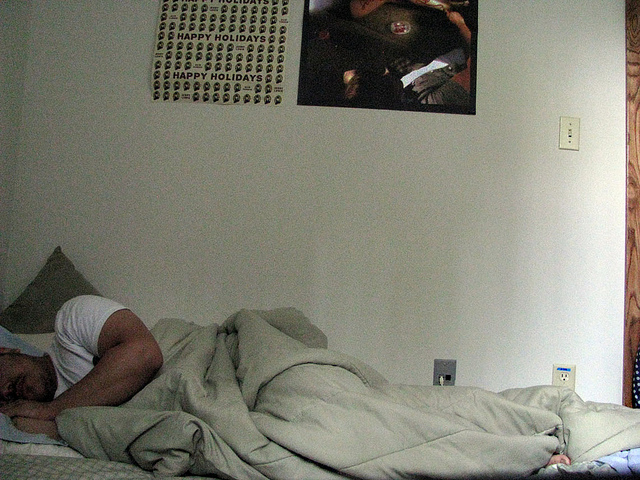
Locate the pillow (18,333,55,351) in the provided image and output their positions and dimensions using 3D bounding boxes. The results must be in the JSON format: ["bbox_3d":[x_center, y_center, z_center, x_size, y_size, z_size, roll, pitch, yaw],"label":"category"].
[{"bbox_3d":[-1.400,0.500,2.603,0.131,0.032,0.131,11,-1,-34],"label":"pillow"}]

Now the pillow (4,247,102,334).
[{"bbox_3d":[-1.333,0.296,2.887,0.521,0.521,0.355,2,-35,-6],"label":"pillow"}]

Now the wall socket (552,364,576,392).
[{"bbox_3d":[1.242,0.704,2.670,0.140,0.164,0.018,4,-3,-1],"label":"wall socket"}]

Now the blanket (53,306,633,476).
[{"bbox_3d":[0.090,0.653,1.932,1.442,0.281,0.921,0,-2,2],"label":"blanket"}]
